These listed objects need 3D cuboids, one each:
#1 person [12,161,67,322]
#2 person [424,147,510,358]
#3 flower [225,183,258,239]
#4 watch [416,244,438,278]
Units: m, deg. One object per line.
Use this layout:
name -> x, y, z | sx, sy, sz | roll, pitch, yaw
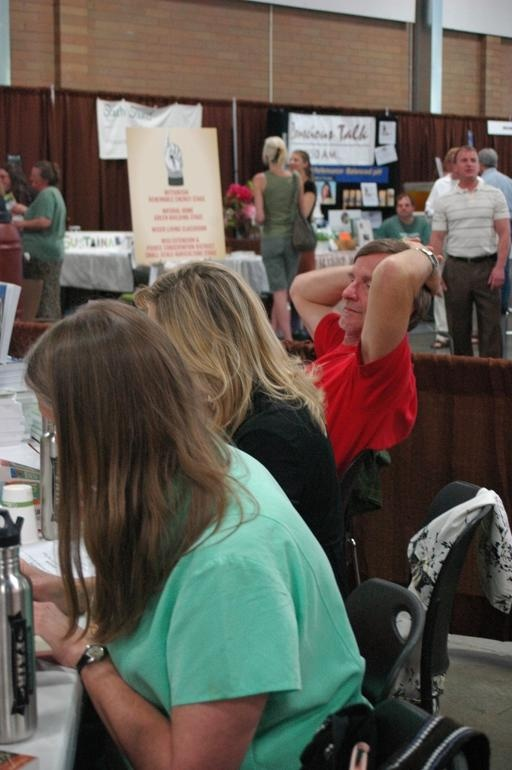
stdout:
person -> -1.696, -1.168, 5.928 | 0.389, 1.306, 0.981 | -3, 5, -16
person -> 1.503, -0.911, 5.288 | 0.543, 1.458, 0.411 | -1, 5, 11
flower -> -0.159, -1.637, 7.213 | 0.340, 0.486, 0.370 | 0, 5, 19
watch -> 0.404, -0.289, 1.731 | 0.018, 0.065, 0.066 | -23, 30, -12
